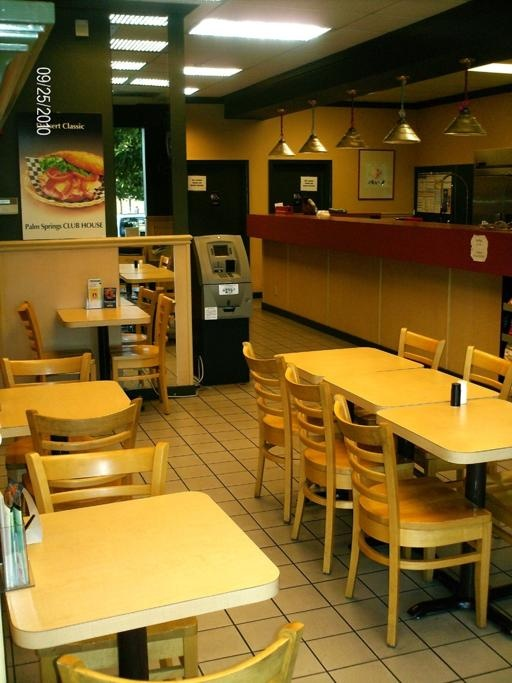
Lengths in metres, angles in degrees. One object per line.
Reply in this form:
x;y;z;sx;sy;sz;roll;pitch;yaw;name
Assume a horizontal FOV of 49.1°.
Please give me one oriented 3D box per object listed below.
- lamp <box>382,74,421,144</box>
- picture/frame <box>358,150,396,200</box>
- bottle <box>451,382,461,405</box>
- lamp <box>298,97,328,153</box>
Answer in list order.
1.598;-2.537;6.140;0.407;0.655;0.379;-11;26;-11;lamp
2.465;-3.465;11.623;1.031;1.285;0.093;-2;11;-11;picture/frame
0.926;0.246;2.603;0.045;0.107;0.056;4;9;19;bottle
0.825;-3.067;8.060;0.391;0.660;0.373;-7;18;-14;lamp
